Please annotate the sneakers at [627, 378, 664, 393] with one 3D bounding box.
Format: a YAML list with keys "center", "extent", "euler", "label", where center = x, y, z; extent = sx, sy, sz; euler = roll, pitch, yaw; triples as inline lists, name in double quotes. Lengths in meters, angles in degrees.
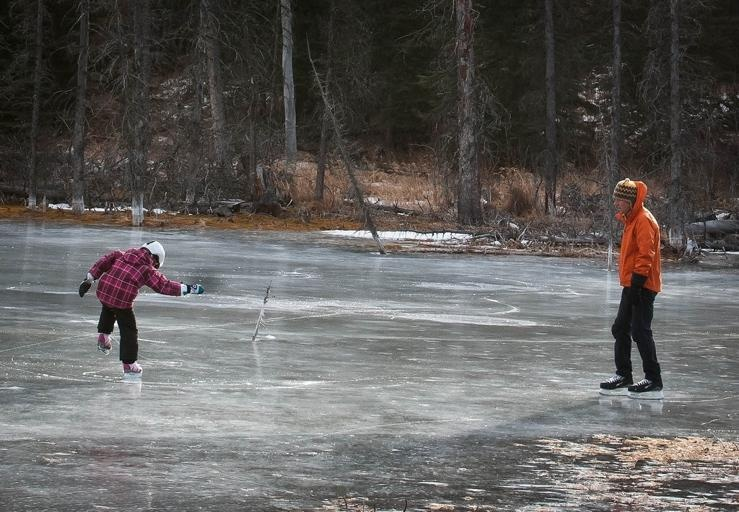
- center: [3.588, 1.675, 14.306]
  extent: [0.479, 0.176, 0.166]
  euler: [2, -3, 3]
  label: "sneakers"

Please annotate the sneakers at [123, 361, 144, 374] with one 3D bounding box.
- center: [-3.112, 1.488, 14.772]
  extent: [0.291, 0.228, 0.124]
  euler: [-4, 5, -22]
  label: "sneakers"

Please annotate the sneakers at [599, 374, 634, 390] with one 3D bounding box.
- center: [3.246, 1.652, 14.481]
  extent: [0.504, 0.184, 0.159]
  euler: [1, -1, -3]
  label: "sneakers"

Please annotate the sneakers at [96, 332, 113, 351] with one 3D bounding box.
- center: [-3.706, 1.243, 15.562]
  extent: [0.170, 0.166, 0.421]
  euler: [6, -22, -8]
  label: "sneakers"

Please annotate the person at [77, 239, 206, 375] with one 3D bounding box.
- center: [-3.489, 0.844, 17.086]
  extent: [1.491, 1.617, 1.064]
  euler: [33, 23, 25]
  label: "person"

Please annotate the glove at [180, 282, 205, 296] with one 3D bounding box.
- center: [-2.356, 0.440, 14.756]
  extent: [0.505, 0.158, 0.276]
  euler: [0, 1, -7]
  label: "glove"

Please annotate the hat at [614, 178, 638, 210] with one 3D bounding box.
- center: [3.359, -0.811, 14.604]
  extent: [0.311, 0.334, 0.388]
  euler: [0, -2, 9]
  label: "hat"

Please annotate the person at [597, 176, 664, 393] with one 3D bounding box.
- center: [3.439, 0.408, 14.432]
  extent: [0.750, 2.265, 0.692]
  euler: [-1, 0, 10]
  label: "person"

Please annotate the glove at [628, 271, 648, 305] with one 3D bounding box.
- center: [3.426, 0.421, 14.118]
  extent: [0.199, 0.352, 0.276]
  euler: [5, -35, 41]
  label: "glove"
